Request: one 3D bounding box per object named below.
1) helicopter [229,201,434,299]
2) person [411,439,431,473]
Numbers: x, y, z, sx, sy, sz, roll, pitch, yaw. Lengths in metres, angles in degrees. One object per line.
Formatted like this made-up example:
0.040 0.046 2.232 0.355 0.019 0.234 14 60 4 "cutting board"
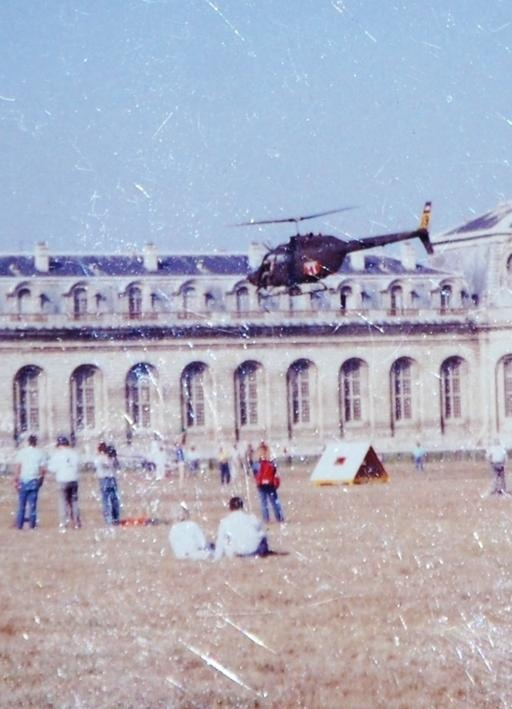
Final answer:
0.870 -1.484 28.505 2.368 1.063 2.090 -3 14 39 "helicopter"
3.205 1.988 34.357 0.261 0.280 0.757 4 -40 10 "person"
